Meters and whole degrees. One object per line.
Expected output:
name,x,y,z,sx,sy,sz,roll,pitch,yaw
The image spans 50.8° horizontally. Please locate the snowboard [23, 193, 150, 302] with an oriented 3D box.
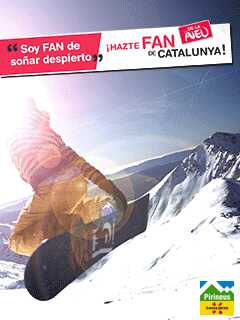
snowboard,-0.083,0.499,1.868,1.342,0.344,0.139,-31,1,-11
